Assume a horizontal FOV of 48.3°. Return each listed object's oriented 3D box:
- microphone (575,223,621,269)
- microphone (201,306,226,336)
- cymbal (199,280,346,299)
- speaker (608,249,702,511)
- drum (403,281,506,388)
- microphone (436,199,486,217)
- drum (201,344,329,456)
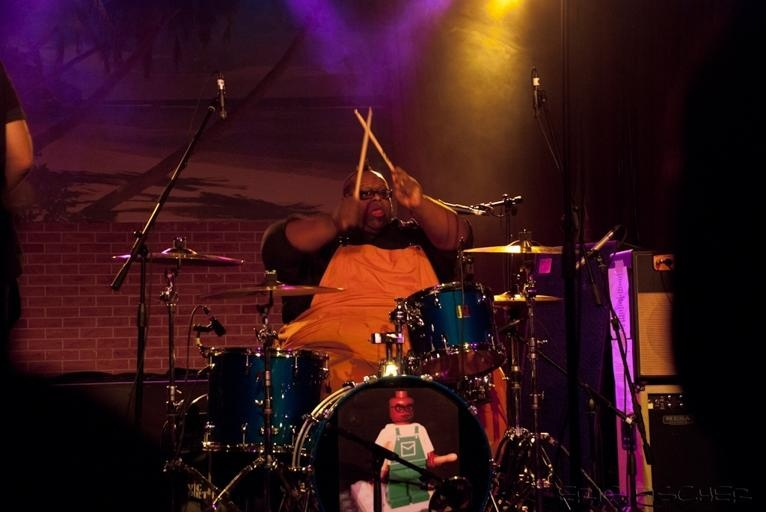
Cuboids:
[{"bbox_3d":[1.578,-0.067,6.211,0.498,0.086,0.077,-43,35,-25],"label":"microphone"},{"bbox_3d":[-1.430,0.542,7.161,0.075,0.294,0.166,-32,-6,-26],"label":"microphone"},{"bbox_3d":[-0.759,0.256,6.145,0.876,0.109,0.591,-1,-6,29],"label":"cymbal"},{"bbox_3d":[1.894,0.881,6.191,0.601,1.877,0.508,-1,-5,28],"label":"speaker"},{"bbox_3d":[0.447,0.528,6.023,0.678,0.510,0.687,-8,-27,-4],"label":"drum"},{"bbox_3d":[0.642,-0.380,6.505,0.257,0.063,0.190,16,-14,11],"label":"microphone"},{"bbox_3d":[-0.819,0.996,6.059,0.735,0.561,0.739,1,-6,0],"label":"drum"}]
